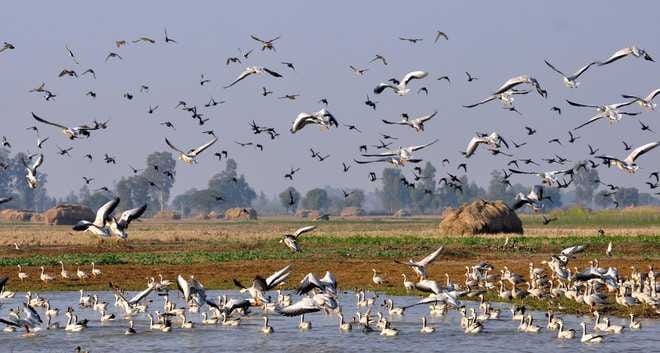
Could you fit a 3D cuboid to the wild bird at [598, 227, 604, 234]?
[{"bbox_3d":[34.408,6.922,145.507,0.706,0.822,1.313,2,-11,14],"label":"wild bird"}]
